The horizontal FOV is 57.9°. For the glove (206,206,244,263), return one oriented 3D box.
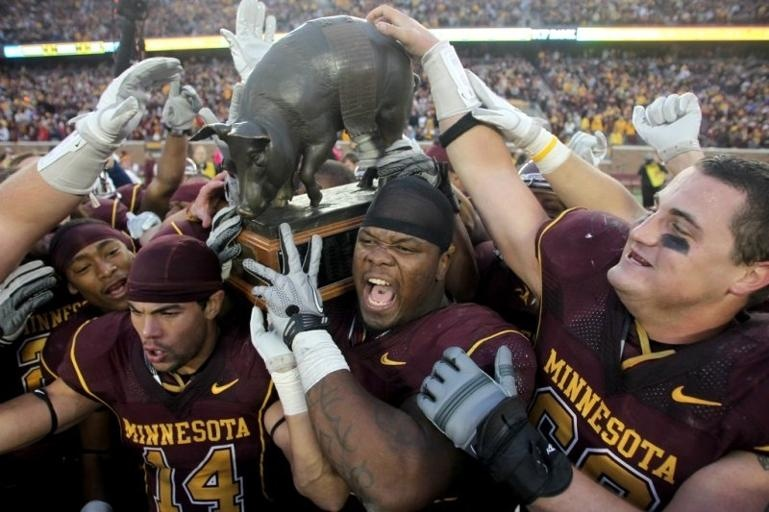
[{"bbox_3d":[-1.254,-0.154,5.502,0.273,0.303,0.422,3,51,-1],"label":"glove"}]

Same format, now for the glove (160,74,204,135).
[{"bbox_3d":[-1.946,-1.441,6.761,0.413,0.587,0.609,0,26,-29],"label":"glove"}]

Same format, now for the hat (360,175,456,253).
[{"bbox_3d":[0.201,-0.363,5.326,0.587,0.406,0.558,25,2,-35],"label":"hat"}]

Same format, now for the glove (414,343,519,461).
[{"bbox_3d":[0.574,0.972,4.581,0.674,0.698,0.301,36,-3,19],"label":"glove"}]

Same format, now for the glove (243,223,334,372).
[{"bbox_3d":[-0.708,0.244,5.138,0.568,0.884,0.329,-11,0,10],"label":"glove"}]

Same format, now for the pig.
[{"bbox_3d":[-0.589,-1.191,5.776,0.917,1.532,2.005,17,37,38],"label":"pig"}]

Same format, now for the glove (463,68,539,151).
[{"bbox_3d":[1.001,-1.016,5.450,0.622,0.187,0.618,33,24,-37],"label":"glove"}]
